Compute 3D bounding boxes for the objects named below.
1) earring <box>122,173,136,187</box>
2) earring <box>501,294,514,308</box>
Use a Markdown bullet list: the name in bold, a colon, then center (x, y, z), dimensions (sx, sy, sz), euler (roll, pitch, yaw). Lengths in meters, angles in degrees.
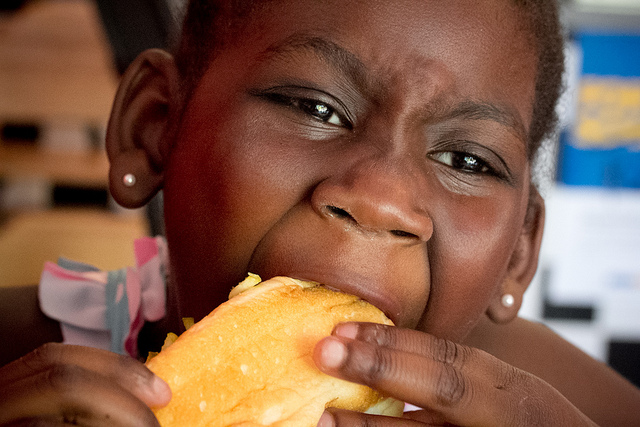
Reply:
- **earring**: center (-0.775, -0.136, 2.559), dimensions (0.049, 0.052, 0.012), euler (4, 0, -12)
- **earring**: center (0.809, 0.379, 2.728), dimensions (0.057, 0.043, 0.031), euler (6, 35, -6)
